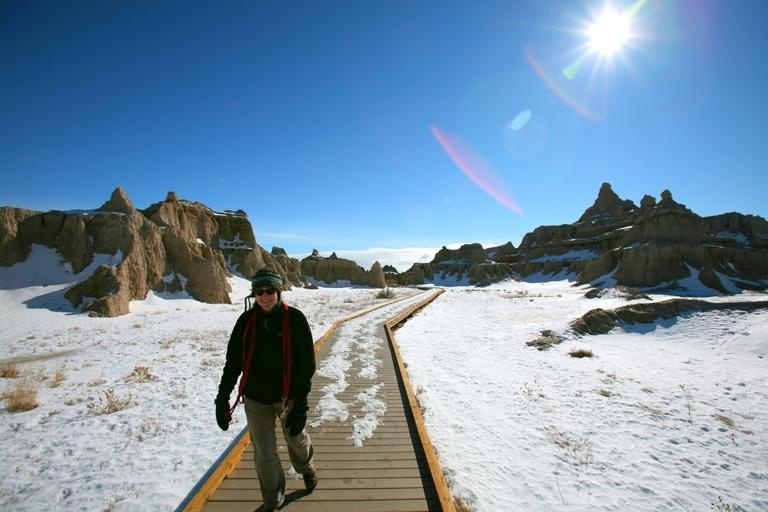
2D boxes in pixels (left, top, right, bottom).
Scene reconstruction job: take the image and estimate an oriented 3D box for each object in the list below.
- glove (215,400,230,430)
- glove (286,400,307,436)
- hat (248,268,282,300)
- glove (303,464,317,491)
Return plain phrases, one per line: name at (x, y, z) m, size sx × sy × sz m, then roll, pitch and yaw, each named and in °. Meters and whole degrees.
glove at (-4.430, 4.338, 10.447) m, size 0.589 × 0.882 × 0.359 m, roll -18°, pitch -18°, yaw 41°
glove at (-2.417, 4.435, 10.462) m, size 0.332 × 0.981 × 0.654 m, roll 15°, pitch -17°, yaw -39°
hat at (-3.348, 0.786, 10.633) m, size 0.714 × 0.776 × 0.867 m, roll 5°, pitch -16°, yaw -27°
glove at (-2.179, 6.514, 11.170) m, size 0.288 × 0.314 × 0.697 m, roll 1°, pitch -11°, yaw -22°
